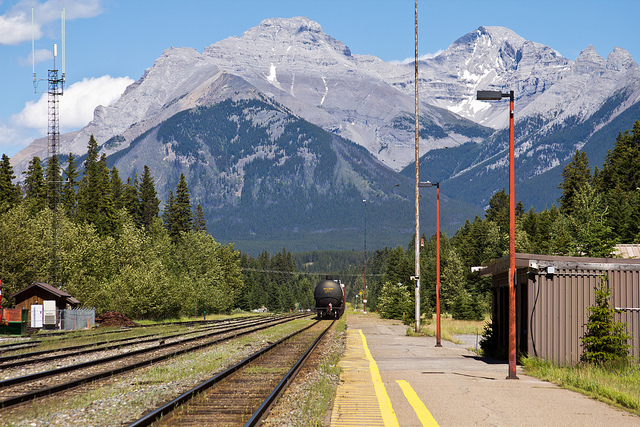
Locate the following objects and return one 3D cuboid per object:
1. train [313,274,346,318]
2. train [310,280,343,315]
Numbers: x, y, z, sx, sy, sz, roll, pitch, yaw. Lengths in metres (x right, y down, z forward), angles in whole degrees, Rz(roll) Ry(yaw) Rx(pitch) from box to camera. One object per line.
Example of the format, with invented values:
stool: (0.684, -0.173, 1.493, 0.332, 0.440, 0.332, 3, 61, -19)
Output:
train: (1.126, 11.353, 111.000, 3.587, 4.795, 2.576, -5, -10, 21)
train: (1.101, 11.181, 110.832, 3.476, 4.649, 2.067, -3, -9, 13)
